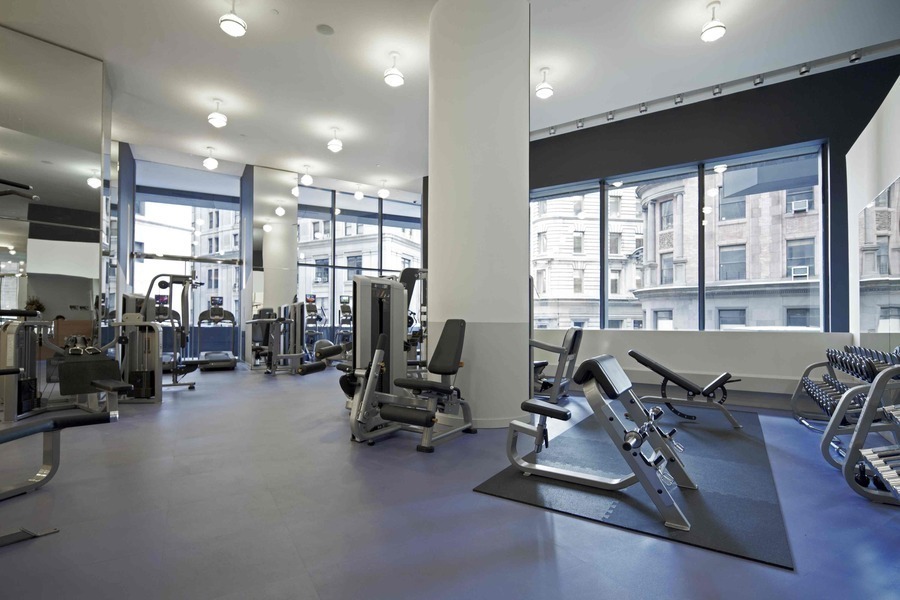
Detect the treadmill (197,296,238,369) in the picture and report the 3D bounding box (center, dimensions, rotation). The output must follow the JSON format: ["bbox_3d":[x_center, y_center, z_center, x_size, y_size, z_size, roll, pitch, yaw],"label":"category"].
[{"bbox_3d":[-4.582,0.614,11.896,0.786,1.366,2.334,0,1,-23],"label":"treadmill"}]

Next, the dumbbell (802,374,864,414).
[{"bbox_3d":[4.151,1.016,6.669,0.569,0.259,0.883,-6,1,-2],"label":"dumbbell"}]
